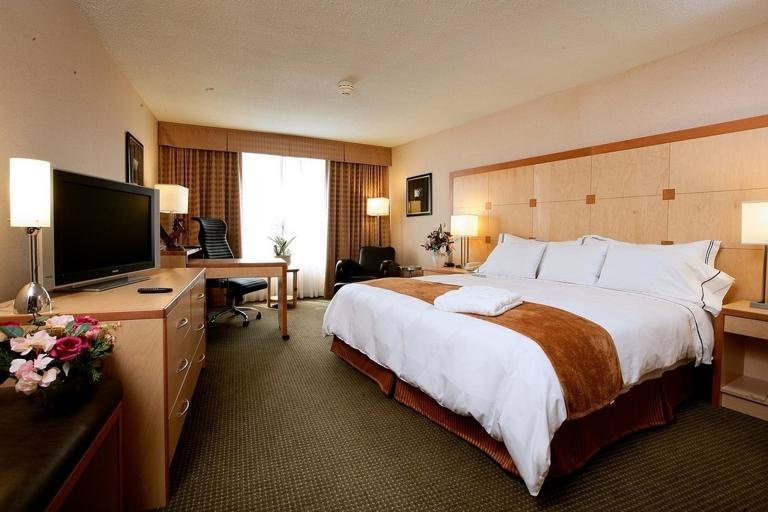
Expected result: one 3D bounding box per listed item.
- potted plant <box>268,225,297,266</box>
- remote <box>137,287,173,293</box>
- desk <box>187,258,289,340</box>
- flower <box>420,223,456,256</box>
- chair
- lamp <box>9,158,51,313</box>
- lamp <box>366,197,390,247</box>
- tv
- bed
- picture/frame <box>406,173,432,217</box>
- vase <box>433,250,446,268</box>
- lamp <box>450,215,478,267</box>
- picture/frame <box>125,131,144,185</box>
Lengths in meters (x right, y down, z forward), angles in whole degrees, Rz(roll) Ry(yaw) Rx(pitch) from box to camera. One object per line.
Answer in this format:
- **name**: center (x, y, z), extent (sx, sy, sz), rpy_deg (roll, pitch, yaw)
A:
- **potted plant**: center (-1.492, -0.092, 6.976), extent (0.260, 0.453, 0.319), rpy_deg (-4, -7, -16)
- **remote**: center (-1.585, 0.250, 3.347), extent (0.161, 0.029, 0.093), rpy_deg (1, -5, -1)
- **desk**: center (-1.575, 0.634, 5.410), extent (1.210, 0.968, 0.829), rpy_deg (0, -2, -10)
- **flower**: center (0.766, -0.205, 6.650), extent (0.401, 0.433, 0.419), rpy_deg (0, -2, 12)
- **chair**: center (-1.919, 0.191, 5.993), extent (0.839, 1.282, 0.731), rpy_deg (4, 7, 16)
- **lamp**: center (-2.164, -0.131, 2.975), extent (0.236, 0.945, 0.442), rpy_deg (-5, 7, -34)
- **lamp**: center (-0.105, -0.554, 7.917), extent (0.389, 0.799, 0.483), rpy_deg (-1, 5, -2)
- **tv**: center (-2.085, -0.157, 3.503), extent (0.254, 0.715, 0.975), rpy_deg (2, 1, 14)
- **bed**: center (1.327, 0.760, 3.659), extent (1.679, 0.531, 1.665), rpy_deg (-2, 2, -42)
- **picture/frame**: center (0.541, -0.935, 7.420), extent (0.049, 0.709, 0.666), rpy_deg (-3, 5, -31)
- **vase**: center (0.720, 0.055, 6.594), extent (0.200, 0.268, 0.206), rpy_deg (0, 5, -11)
- **lamp**: center (1.017, -0.181, 6.312), extent (0.343, 0.701, 0.509), rpy_deg (-3, 6, -20)
- **picture/frame**: center (-2.781, -1.044, 5.420), extent (0.019, 0.439, 0.581), rpy_deg (10, 5, -36)
